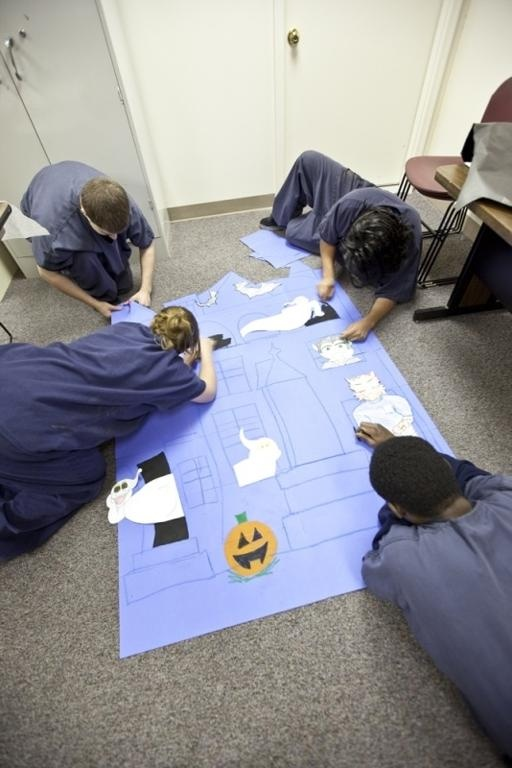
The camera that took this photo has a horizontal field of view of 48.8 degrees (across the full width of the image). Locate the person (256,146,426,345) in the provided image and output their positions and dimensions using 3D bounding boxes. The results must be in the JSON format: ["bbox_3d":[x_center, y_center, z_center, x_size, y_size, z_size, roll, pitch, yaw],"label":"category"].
[{"bbox_3d":[0.331,-0.552,2.329,0.554,0.786,0.952,15,10,-7],"label":"person"}]

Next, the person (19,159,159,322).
[{"bbox_3d":[-0.657,-0.579,2.246,0.360,0.733,0.552,-26,95,-19],"label":"person"}]
